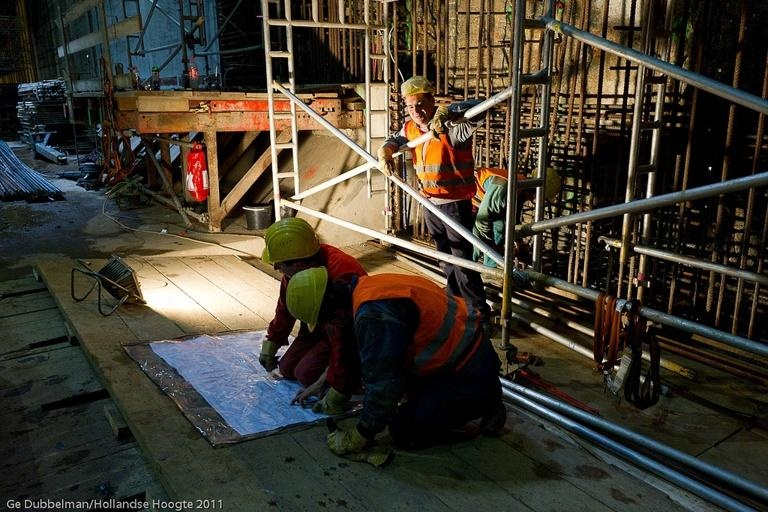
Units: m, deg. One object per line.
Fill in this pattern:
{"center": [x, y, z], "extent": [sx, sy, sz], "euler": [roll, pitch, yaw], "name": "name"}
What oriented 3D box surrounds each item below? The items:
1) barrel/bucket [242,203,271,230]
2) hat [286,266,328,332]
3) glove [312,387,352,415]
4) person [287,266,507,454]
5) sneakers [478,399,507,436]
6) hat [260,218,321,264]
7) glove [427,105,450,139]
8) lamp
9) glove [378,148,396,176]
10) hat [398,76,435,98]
{"center": [-2.080, -0.649, 8.708], "extent": [0.566, 0.376, 0.562], "euler": [-2, 6, 0], "name": "barrel/bucket"}
{"center": [-0.489, 0.273, 3.429], "extent": [0.347, 0.356, 0.223], "euler": [-4, -19, 43], "name": "hat"}
{"center": [-0.352, 1.052, 3.891], "extent": [0.315, 0.146, 0.172], "euler": [3, 4, 6], "name": "glove"}
{"center": [0.113, 0.690, 3.571], "extent": [1.495, 1.167, 0.704], "euler": [1, 18, -7], "name": "person"}
{"center": [0.756, 1.137, 3.717], "extent": [0.109, 0.232, 0.189], "euler": [15, 14, 4], "name": "sneakers"}
{"center": [-0.714, -0.113, 4.072], "extent": [0.490, 0.201, 0.308], "euler": [-2, 35, -2], "name": "hat"}
{"center": [0.481, -1.175, 4.678], "extent": [0.140, 0.257, 0.181], "euler": [29, 17, 5], "name": "glove"}
{"center": [-2.763, 0.279, 5.303], "extent": [0.478, 0.340, 0.589], "euler": [22, 19, 35], "name": "lamp"}
{"center": [0.034, -0.953, 5.360], "extent": [0.098, 0.222, 0.266], "euler": [25, 46, -34], "name": "glove"}
{"center": [0.322, -1.612, 5.071], "extent": [0.208, 0.113, 0.283], "euler": [16, 29, 42], "name": "hat"}
